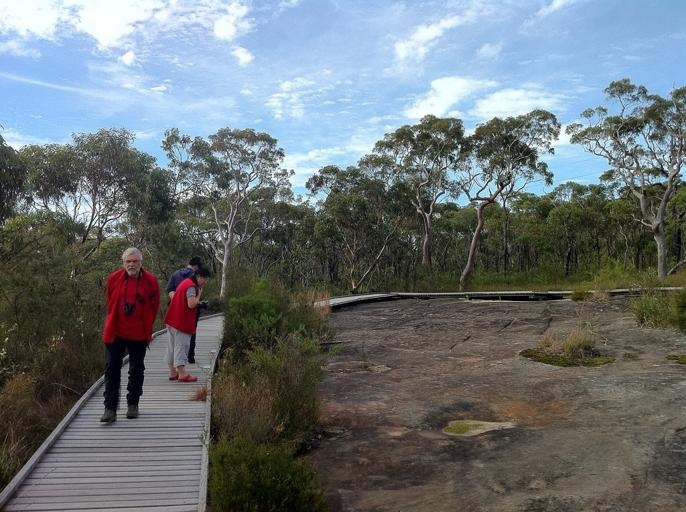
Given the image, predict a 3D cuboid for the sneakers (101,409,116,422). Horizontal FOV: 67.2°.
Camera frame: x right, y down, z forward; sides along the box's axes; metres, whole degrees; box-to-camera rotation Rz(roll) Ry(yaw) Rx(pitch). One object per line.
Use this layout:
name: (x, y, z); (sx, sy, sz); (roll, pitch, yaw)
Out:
sneakers: (-3.504, 2.448, 7.721); (0.115, 0.127, 0.289); (2, -18, -9)

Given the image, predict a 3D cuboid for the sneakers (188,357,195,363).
sneakers: (-3.158, 2.240, 10.749); (0.126, 0.134, 0.089); (-1, -8, -12)

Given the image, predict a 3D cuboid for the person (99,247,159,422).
person: (-3.228, 1.378, 7.804); (0.891, 2.337, 0.431); (-4, 11, -25)

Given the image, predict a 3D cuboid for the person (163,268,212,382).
person: (-2.827, 1.344, 9.354); (0.722, 2.167, 0.961); (-2, 10, -19)

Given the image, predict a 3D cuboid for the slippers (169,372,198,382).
slippers: (-2.928, 2.294, 9.474); (0.360, 0.118, 0.213); (-2, -5, 7)
